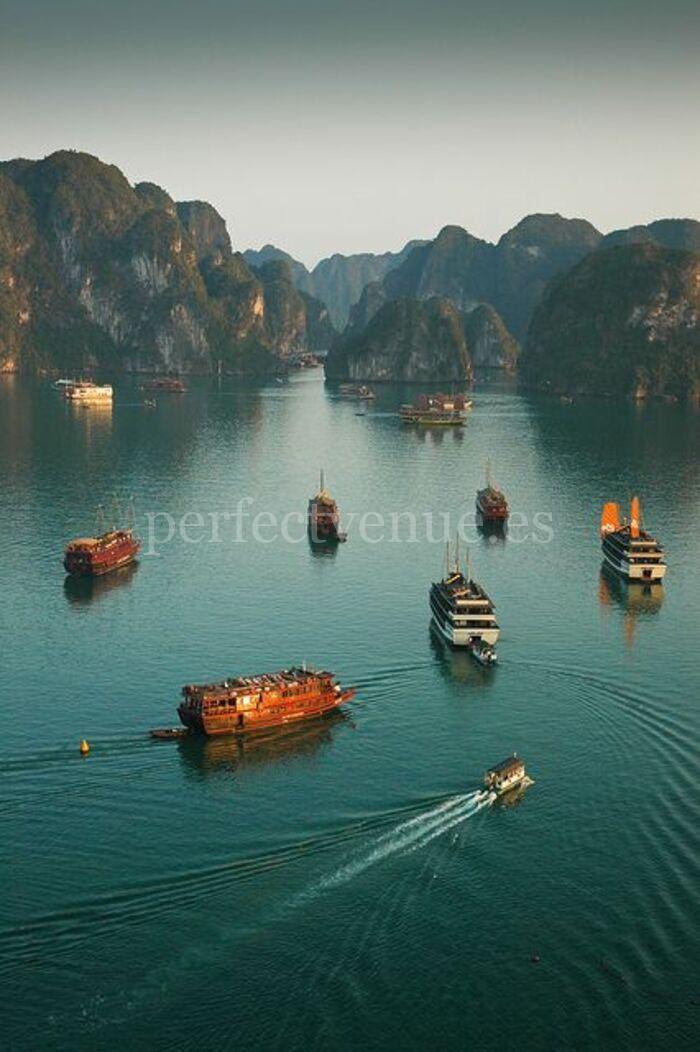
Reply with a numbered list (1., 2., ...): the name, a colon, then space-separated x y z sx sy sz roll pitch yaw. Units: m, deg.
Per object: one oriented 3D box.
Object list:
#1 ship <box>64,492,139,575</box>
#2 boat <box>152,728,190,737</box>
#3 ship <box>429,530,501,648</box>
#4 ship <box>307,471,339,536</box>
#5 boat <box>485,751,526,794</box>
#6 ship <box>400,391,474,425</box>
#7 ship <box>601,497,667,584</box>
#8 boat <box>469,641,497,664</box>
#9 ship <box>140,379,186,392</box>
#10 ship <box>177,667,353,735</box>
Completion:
1. ship: -22.163 0.819 107.355 4.968 5.317 11.425 2 10 6
2. boat: -9.134 10.439 60.769 1.745 0.392 0.986 0 11 -8
3. ship: 7.853 5.138 82.806 4.699 3.034 19.151 2 12 4
4. ship: -2.562 -2.350 115.579 2.284 4.886 8.683 -1 8 -5
5. boat: 7.222 11.429 55.248 2.357 1.071 1.035 -9 14 -43
6. ship: 17.558 -23.355 242.686 11.449 4.826 34.403 2 12 7
7. ship: 24.248 1.576 102.347 2.637 5.680 11.693 0 12 1
8. boat: 8.189 7.818 73.635 1.121 0.980 2.121 -3 12 -18
9. ship: -50.290 -37.291 322.453 6.638 2.497 16.720 -7 14 -35
10. ship: -4.442 9.054 64.781 10.402 2.255 5.838 -3 12 -22
